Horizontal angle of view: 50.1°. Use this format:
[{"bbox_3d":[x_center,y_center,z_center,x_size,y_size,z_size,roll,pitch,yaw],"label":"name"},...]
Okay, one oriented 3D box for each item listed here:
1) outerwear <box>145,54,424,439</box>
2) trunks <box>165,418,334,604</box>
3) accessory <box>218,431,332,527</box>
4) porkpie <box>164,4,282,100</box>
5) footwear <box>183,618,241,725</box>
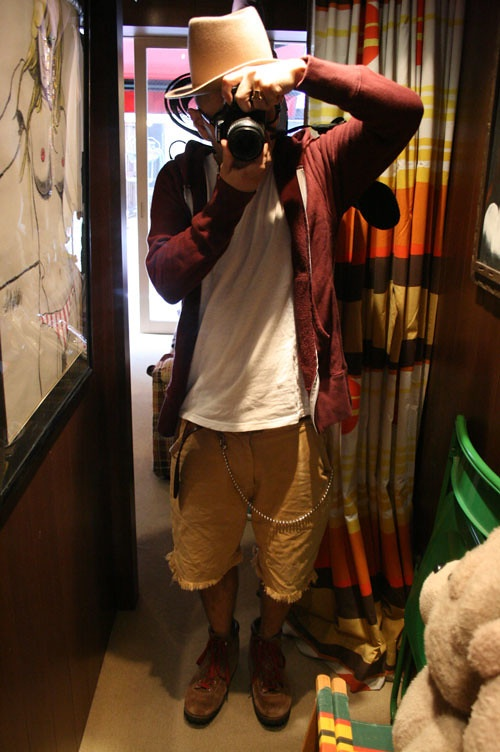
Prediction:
[{"bbox_3d":[0.052,-0.214,1.096,0.521,0.752,0.281,-2,11,-14],"label":"outerwear"},{"bbox_3d":[0.009,0.307,1.244,0.356,0.631,0.228,3,27,4],"label":"trunks"},{"bbox_3d":[0.061,0.241,1.163,0.249,0.214,0.037,14,11,19],"label":"accessory"},{"bbox_3d":[-0.052,-0.562,0.978,0.144,0.069,0.153,-11,42,24],"label":"porkpie"},{"bbox_3d":[-0.105,0.773,1.392,0.066,0.114,0.241,2,4,6],"label":"footwear"}]
